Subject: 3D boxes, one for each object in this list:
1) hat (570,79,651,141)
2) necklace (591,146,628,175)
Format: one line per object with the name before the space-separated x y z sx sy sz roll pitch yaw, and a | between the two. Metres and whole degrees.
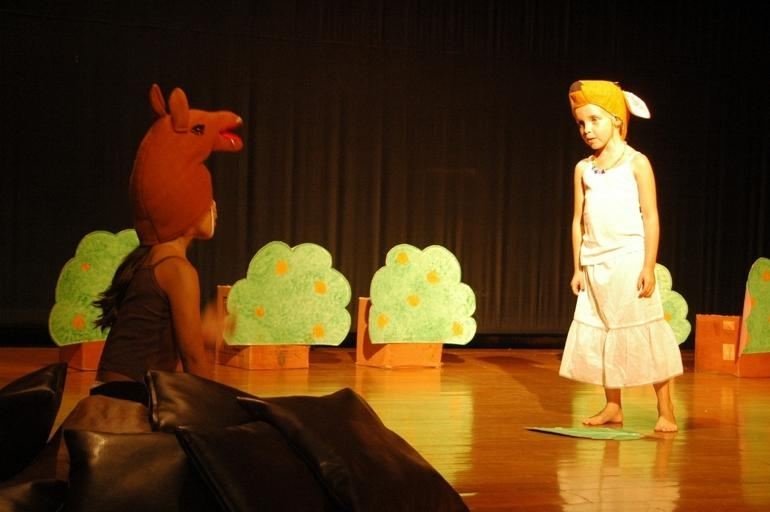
hat | 1.274 -0.895 4.373 0.429 0.270 0.296 25 2 -12
necklace | 1.220 -0.521 4.230 0.167 0.164 0.058 -38 -61 22
